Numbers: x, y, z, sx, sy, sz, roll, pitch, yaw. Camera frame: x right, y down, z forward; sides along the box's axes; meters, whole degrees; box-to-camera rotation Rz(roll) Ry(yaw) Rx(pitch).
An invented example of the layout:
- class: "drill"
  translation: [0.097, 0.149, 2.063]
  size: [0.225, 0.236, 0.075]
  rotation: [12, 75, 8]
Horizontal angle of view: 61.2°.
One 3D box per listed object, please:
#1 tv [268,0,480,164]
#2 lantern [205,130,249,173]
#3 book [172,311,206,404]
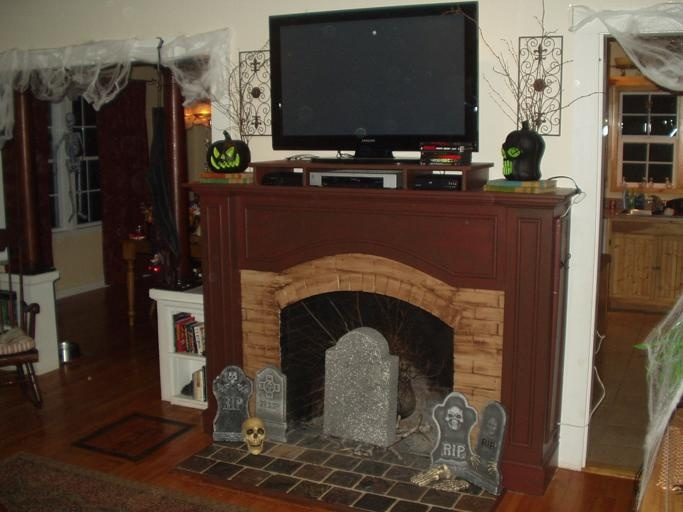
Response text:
- class: "tv"
  translation: [0.245, -1.108, 3.639]
  size: [1.061, 0.738, 0.121]
  rotation: [3, 13, 18]
- class: "lantern"
  translation: [-0.802, -0.752, 4.093]
  size: [0.299, 0.303, 0.271]
  rotation: [-4, 15, -3]
- class: "book"
  translation: [-1.184, 0.786, 4.579]
  size: [0.373, 0.635, 0.198]
  rotation: [10, 17, 43]
